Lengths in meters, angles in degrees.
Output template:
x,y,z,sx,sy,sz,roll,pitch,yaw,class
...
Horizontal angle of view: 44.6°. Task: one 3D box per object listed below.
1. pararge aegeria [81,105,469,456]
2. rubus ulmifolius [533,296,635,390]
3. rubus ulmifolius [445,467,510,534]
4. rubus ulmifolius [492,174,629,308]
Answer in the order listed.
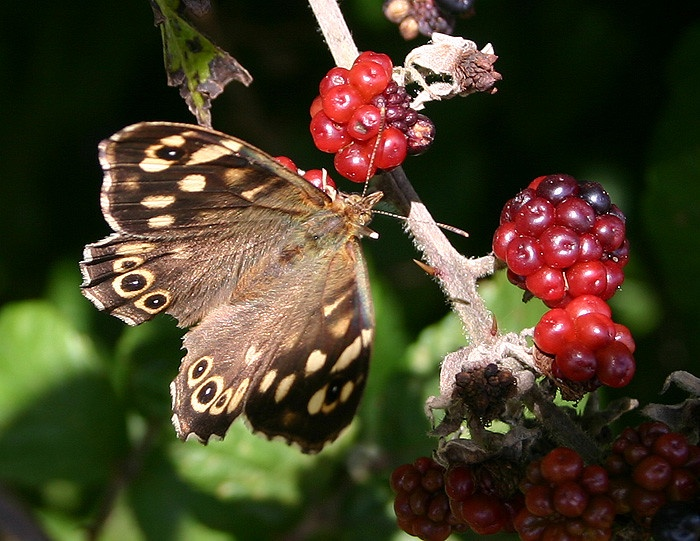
x,y,z,sx,sy,sz,roll,pitch,yaw,class
-0.319,0.038,2.601,0.958,0.833,0.395,-24,18,4,pararge aegeria
0.660,0.204,2.337,0.230,0.240,0.180,-25,17,9,rubus ulmifolius
0.354,0.628,2.306,0.130,0.216,0.128,-33,17,-6,rubus ulmifolius
0.574,-0.068,2.547,0.440,0.372,0.350,-7,-14,2,rubus ulmifolius
